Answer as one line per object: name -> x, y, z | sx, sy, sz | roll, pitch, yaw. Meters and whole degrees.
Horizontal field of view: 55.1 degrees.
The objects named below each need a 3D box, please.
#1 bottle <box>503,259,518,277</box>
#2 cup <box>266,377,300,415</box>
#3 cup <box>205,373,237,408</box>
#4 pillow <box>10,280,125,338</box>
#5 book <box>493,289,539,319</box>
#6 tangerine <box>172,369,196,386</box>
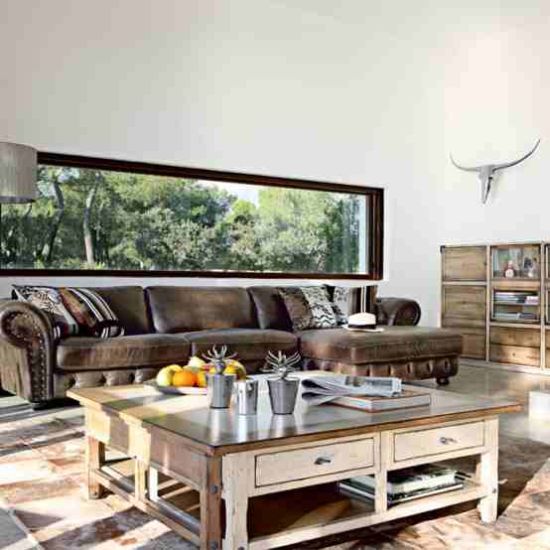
bottle -> 2.644, -0.073, 5.918 | 0.127, 0.221, 0.168 | -1, -4, 22
cup -> 0.026, 0.350, 1.569 | 0.119, 0.100, 0.117 | 1, -4, 0
cup -> -0.173, 0.361, 1.670 | 0.125, 0.097, 0.114 | 1, -6, -3
pillow -> -1.474, 0.261, 3.796 | 0.607, 0.351, 0.573 | -2, -5, 39
book -> 2.661, 0.335, 5.832 | 0.129, 0.339, 0.501 | 4, -5, -35
tangerine -> -0.334, 0.369, 1.962 | 0.073, 0.054, 0.067 | -10, 10, -28
